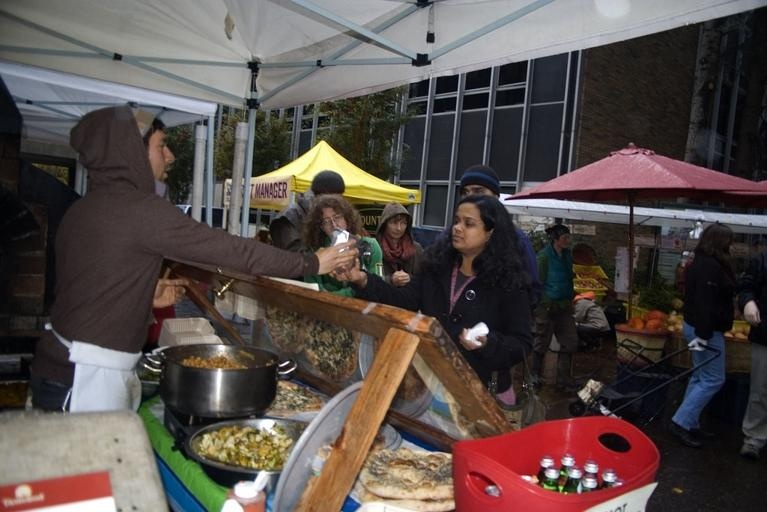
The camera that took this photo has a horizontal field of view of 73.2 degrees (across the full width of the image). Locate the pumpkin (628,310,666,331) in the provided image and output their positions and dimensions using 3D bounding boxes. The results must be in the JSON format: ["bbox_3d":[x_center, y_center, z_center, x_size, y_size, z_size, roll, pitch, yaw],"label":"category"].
[{"bbox_3d":[3.537,0.881,6.849,0.327,0.172,0.457,-3,-1,23],"label":"pumpkin"}]

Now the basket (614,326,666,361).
[{"bbox_3d":[3.243,1.113,6.516,0.495,0.316,0.496,5,-4,-43],"label":"basket"}]

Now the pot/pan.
[{"bbox_3d":[-0.835,0.652,2.635,0.671,0.302,0.439,3,5,30],"label":"pot/pan"}]

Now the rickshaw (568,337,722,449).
[{"bbox_3d":[2.886,1.449,5.474,1.058,0.920,1.469,19,11,-4],"label":"rickshaw"}]

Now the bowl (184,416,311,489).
[{"bbox_3d":[-0.643,0.885,2.386,0.447,0.174,0.436,1,4,0],"label":"bowl"}]

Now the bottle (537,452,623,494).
[{"bbox_3d":[0.721,0.827,1.992,0.240,0.192,0.291,0,2,0],"label":"bottle"}]
